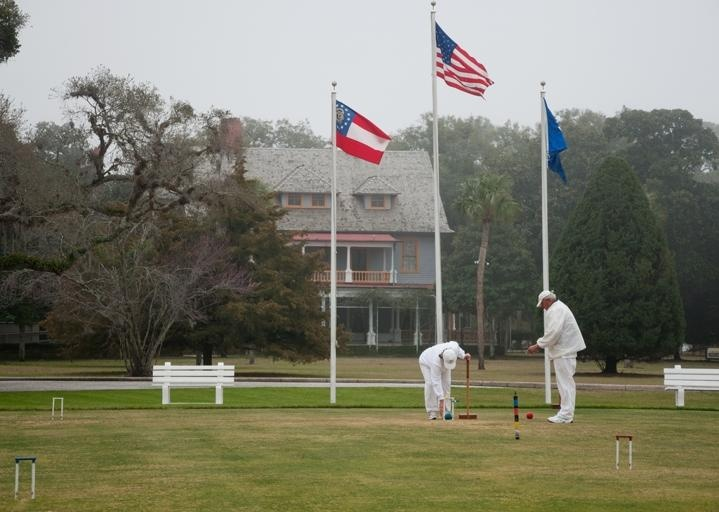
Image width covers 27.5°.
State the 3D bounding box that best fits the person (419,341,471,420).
[{"bbox_3d":[2.830,4.318,50.318,1.377,2.690,0.942,-3,-6,20],"label":"person"}]

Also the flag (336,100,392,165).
[{"bbox_3d":[0.023,-4.689,55.300,1.824,2.317,0.608,-1,-6,-2],"label":"flag"}]

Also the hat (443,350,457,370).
[{"bbox_3d":[3.091,3.537,50.022,0.460,0.665,0.472,-1,-6,3],"label":"hat"}]

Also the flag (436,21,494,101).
[{"bbox_3d":[3.870,-7.592,55.336,2.345,2.711,0.253,12,28,35],"label":"flag"}]

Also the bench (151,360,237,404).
[{"bbox_3d":[-6.256,4.889,55.115,3.009,1.478,1.308,0,-5,-8],"label":"bench"}]
